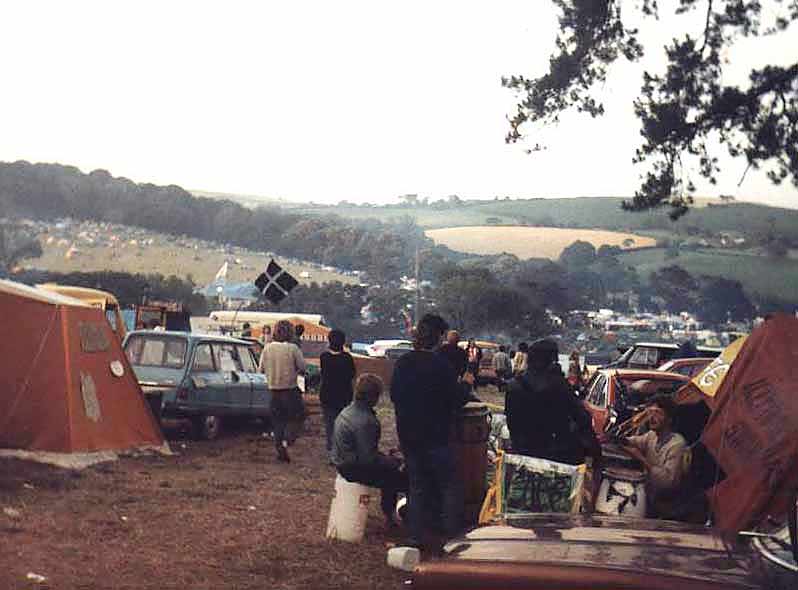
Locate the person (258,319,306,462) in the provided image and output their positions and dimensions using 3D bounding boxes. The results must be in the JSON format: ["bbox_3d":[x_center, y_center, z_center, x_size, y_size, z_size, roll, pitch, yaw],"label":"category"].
[{"bbox_3d":[-1.711,1.401,13.749,0.643,2.053,0.871,1,1,-9],"label":"person"}]

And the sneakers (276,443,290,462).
[{"bbox_3d":[-1.692,2.285,13.701,0.193,0.297,0.165,-3,-21,5],"label":"sneakers"}]

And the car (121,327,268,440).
[{"bbox_3d":[-3.386,1.384,15.694,1.457,1.271,2.692,0,-1,28],"label":"car"}]

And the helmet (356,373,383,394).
[{"bbox_3d":[-0.320,0.949,10.319,0.236,0.259,0.202,0,4,-23],"label":"helmet"}]
